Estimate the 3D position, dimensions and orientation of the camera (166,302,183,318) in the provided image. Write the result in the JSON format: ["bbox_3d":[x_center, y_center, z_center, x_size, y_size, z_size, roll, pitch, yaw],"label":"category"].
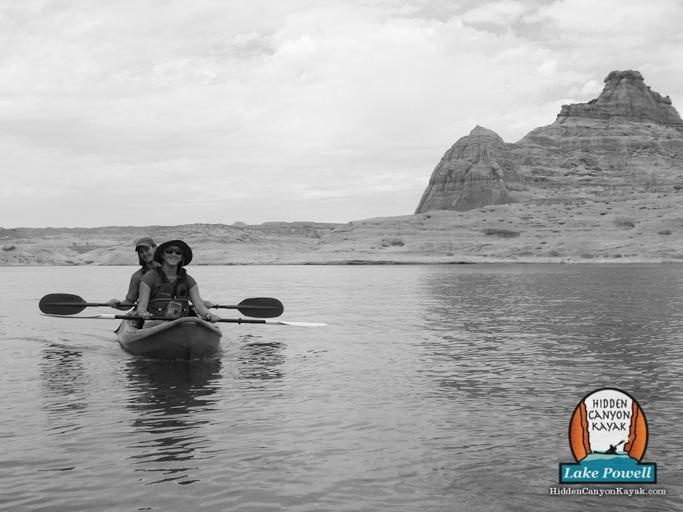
[{"bbox_3d":[-4.302,1.396,18.375,0.531,0.305,0.358,8,-16,-26],"label":"camera"}]
